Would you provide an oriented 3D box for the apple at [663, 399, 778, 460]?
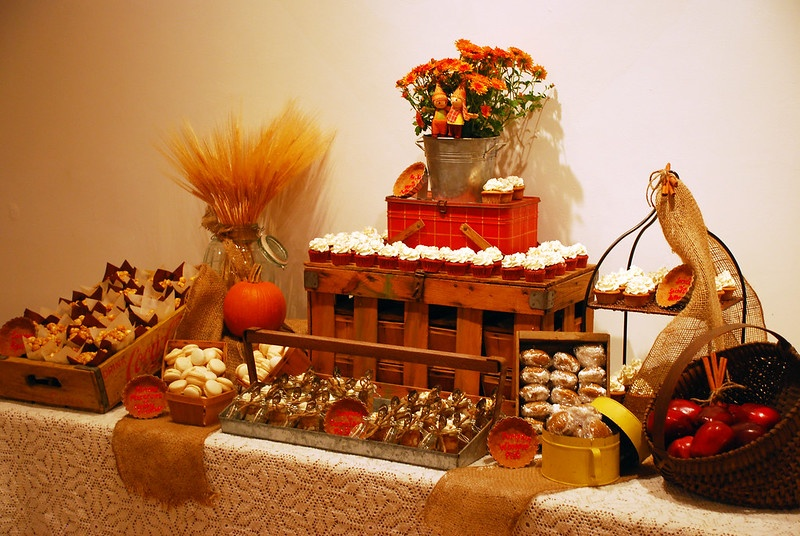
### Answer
[{"bbox_3d":[0.882,0.441,1.671,0.178,0.085,0.206,-16,0,-3],"label":"apple"}]

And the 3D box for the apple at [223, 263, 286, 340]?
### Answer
[{"bbox_3d":[-0.611,0.137,2.494,0.248,0.294,0.232,0,15,-30],"label":"apple"}]

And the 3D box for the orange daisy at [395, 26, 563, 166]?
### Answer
[{"bbox_3d":[0.282,-0.652,2.399,0.527,0.388,0.500,0,9,-14],"label":"orange daisy"}]

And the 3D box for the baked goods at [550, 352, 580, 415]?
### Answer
[{"bbox_3d":[0.536,0.360,1.941,0.130,0.144,0.141,-4,-2,31],"label":"baked goods"}]
